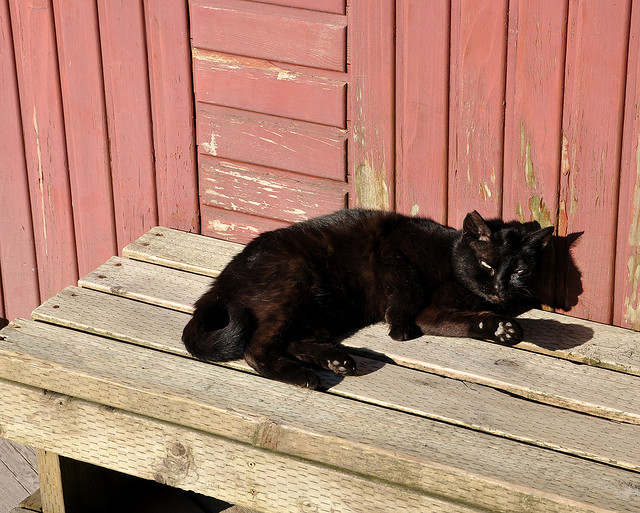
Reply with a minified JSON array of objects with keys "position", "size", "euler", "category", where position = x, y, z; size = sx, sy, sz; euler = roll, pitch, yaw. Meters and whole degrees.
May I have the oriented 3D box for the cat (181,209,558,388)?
[{"position":[0.219,0.199,2.966],"size":[1.425,0.451,0.664],"euler":[-10,21,-5],"category":"cat"}]
